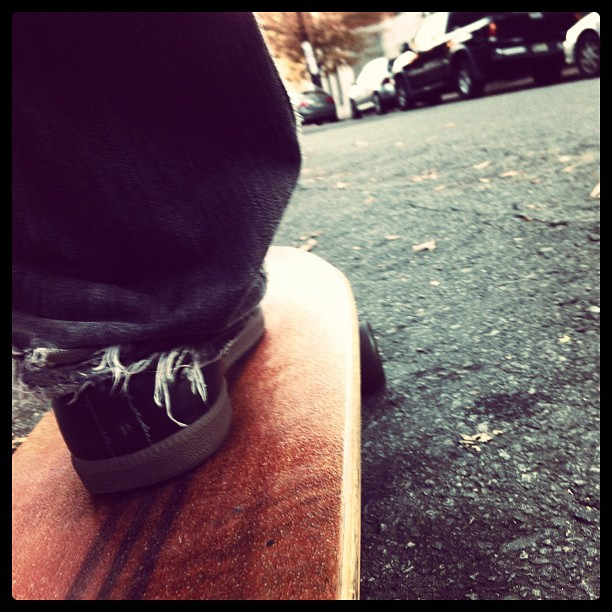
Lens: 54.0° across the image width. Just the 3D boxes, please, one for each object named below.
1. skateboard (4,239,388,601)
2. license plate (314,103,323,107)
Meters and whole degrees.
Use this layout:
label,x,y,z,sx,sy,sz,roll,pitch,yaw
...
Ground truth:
label,x,y,z,sx,sy,sz,roll,pitch,yaw
skateboard,-0.030,0.136,0.999,0.326,0.159,1.075,-3,23,13
license plate,0.195,-3.151,9.435,0.159,0.063,0.024,-23,16,-31
